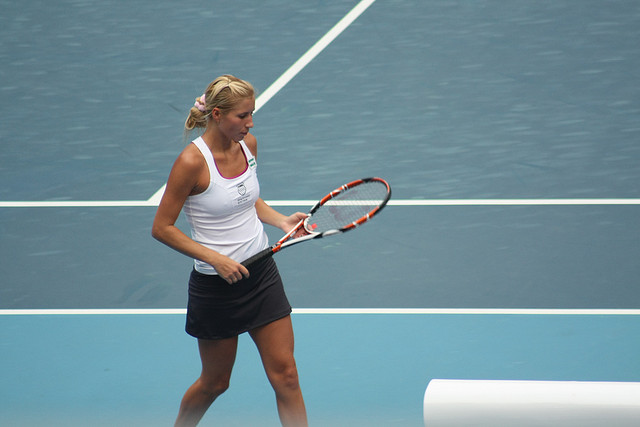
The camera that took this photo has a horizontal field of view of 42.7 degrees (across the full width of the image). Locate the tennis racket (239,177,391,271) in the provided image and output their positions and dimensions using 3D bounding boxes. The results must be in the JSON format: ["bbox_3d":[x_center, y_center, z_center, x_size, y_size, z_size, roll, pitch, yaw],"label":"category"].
[{"bbox_3d":[0.134,0.003,5.967,1.578,0.105,0.428,-26,36,-16],"label":"tennis racket"}]

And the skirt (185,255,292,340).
[{"bbox_3d":[-0.623,0.531,5.671,0.837,0.505,0.436,-13,14,-40],"label":"skirt"}]
